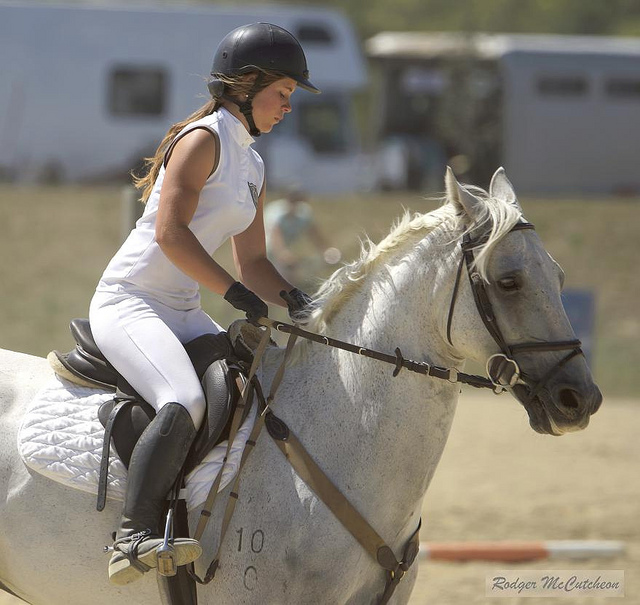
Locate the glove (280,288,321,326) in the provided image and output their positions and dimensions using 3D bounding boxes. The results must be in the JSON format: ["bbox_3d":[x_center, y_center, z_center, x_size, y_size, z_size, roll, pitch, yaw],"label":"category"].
[{"bbox_3d":[-0.132,0.012,10.340,0.256,0.182,0.089,34,56,20],"label":"glove"}]

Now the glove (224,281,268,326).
[{"bbox_3d":[-0.453,0.003,10.128,0.183,0.318,0.133,-48,10,-10],"label":"glove"}]
